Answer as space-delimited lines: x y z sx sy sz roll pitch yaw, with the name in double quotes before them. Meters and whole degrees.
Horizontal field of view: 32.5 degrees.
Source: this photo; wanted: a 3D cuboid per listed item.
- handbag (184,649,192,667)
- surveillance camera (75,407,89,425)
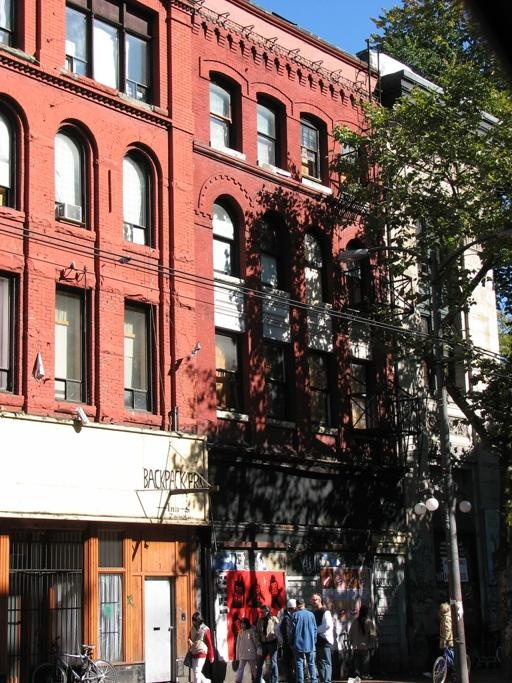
"handbag" -1.277 5.932 16.390 0.141 0.287 0.526 -2 -16 -5
"surveillance camera" -3.302 1.381 16.633 0.247 0.327 0.502 -1 -16 -11
